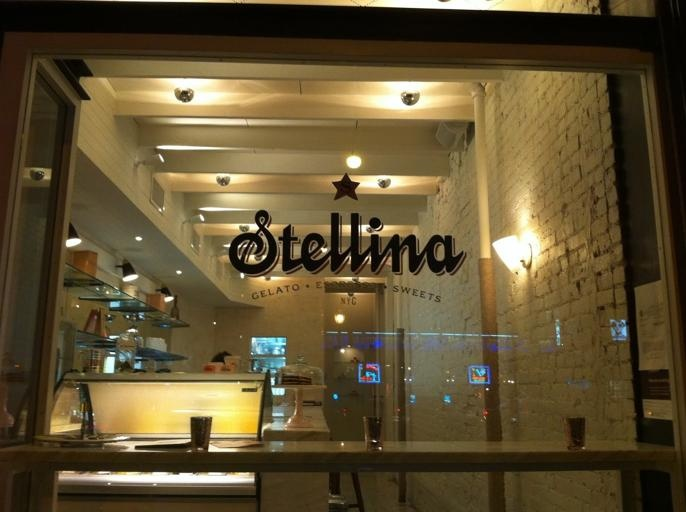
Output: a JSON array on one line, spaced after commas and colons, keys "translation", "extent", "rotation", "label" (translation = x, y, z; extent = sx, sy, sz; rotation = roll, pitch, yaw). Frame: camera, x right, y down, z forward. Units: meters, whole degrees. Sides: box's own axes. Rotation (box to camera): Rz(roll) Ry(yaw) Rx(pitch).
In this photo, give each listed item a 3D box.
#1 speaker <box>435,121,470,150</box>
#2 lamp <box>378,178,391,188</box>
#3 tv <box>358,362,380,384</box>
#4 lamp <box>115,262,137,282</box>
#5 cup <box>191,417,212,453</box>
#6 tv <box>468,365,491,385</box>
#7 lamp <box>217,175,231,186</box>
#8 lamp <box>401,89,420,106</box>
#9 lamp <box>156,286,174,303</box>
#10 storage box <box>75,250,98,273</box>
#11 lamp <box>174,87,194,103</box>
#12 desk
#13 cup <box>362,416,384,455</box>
[{"translation": [0.886, -1.034, 4.625], "extent": [0.209, 0.101, 0.299], "rotation": [-12, -22, 4], "label": "speaker"}, {"translation": [0.313, -0.545, 4.280], "extent": [0.084, 0.059, 0.071], "rotation": [0, 1, -36], "label": "lamp"}, {"translation": [0.169, 0.763, 3.714], "extent": [0.144, 0.134, 0.062], "rotation": [-1, -18, 0], "label": "tv"}, {"translation": [-1.571, 0.111, 4.157], "extent": [0.145, 0.145, 0.118], "rotation": [-21, -13, -13], "label": "lamp"}, {"translation": [-0.572, 0.725, 2.296], "extent": [0.108, 0.156, 0.116], "rotation": [1, -15, 0], "label": "cup"}, {"translation": [0.923, 0.808, 3.856], "extent": [0.043, 0.140, 0.196], "rotation": [13, -23, -36], "label": "tv"}, {"translation": [-0.927, -0.583, 4.415], "extent": [0.091, 0.064, 0.091], "rotation": [0, -10, -2], "label": "lamp"}, {"translation": [0.534, -1.265, 4.565], "extent": [0.153, 0.100, 0.100], "rotation": [-1, -18, -1], "label": "lamp"}, {"translation": [-1.375, 0.301, 4.438], "extent": [0.124, 0.122, 0.100], "rotation": [-25, -11, -3], "label": "lamp"}, {"translation": [-1.594, 0.034, 3.544], "extent": [0.124, 0.229, 0.123], "rotation": [1, -6, -20], "label": "storage box"}, {"translation": [-1.185, -1.206, 4.246], "extent": [0.094, 0.068, 0.079], "rotation": [1, 7, 26], "label": "lamp"}, {"translation": [0.002, 0.844, 2.196], "extent": [2.546, 0.277, 0.430], "rotation": [1, -18, -5], "label": "desk"}, {"translation": [0.098, 0.735, 2.375], "extent": [0.110, 0.170, 0.112], "rotation": [2, -13, 0], "label": "cup"}]
